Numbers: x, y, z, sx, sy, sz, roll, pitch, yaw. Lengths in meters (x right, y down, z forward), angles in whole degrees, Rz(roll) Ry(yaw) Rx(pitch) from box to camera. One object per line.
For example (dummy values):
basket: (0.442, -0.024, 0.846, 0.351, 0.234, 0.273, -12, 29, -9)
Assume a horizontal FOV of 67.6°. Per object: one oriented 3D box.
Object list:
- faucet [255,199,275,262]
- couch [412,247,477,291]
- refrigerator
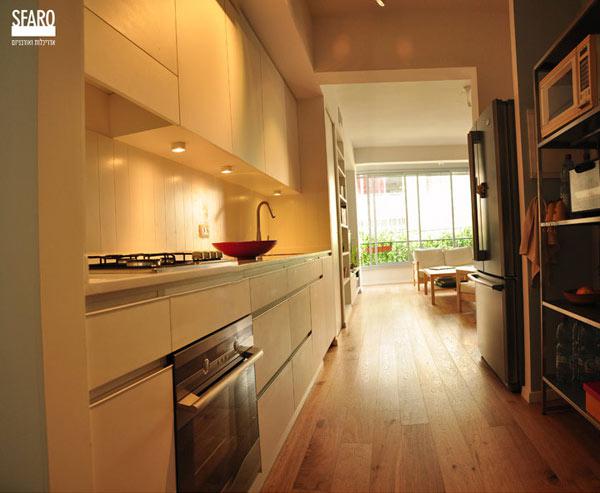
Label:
faucet: (-0.243, -0.114, 2.857, 0.174, 0.381, 0.198, -3, -9, 14)
couch: (2.598, 0.206, 8.202, 1.072, 0.876, 0.683, -1, -4, -2)
refrigerator: (1.345, -0.036, 3.120, 0.214, 1.889, 0.664, -2, 3, 6)
